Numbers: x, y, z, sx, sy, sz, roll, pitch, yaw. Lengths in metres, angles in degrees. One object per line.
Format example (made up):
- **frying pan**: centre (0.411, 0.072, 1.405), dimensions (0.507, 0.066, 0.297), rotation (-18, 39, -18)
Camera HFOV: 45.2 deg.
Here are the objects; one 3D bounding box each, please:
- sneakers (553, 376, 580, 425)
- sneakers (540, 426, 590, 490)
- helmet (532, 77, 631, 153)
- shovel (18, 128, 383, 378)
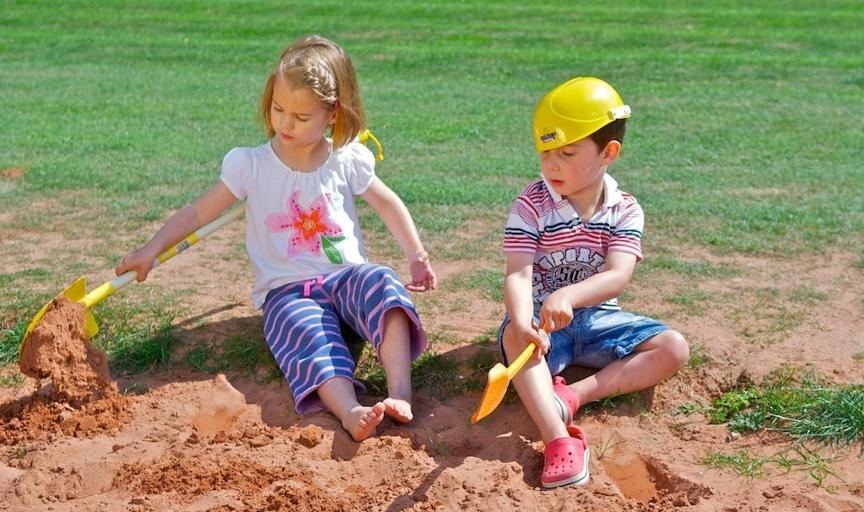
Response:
- **sneakers**: centre (0.846, 0.915, 6.566), dimensions (0.125, 0.141, 0.332), rotation (9, 26, -14)
- **sneakers**: centre (0.828, 1.232, 6.375), dimensions (0.258, 0.191, 0.525), rotation (-13, 17, 20)
- **helmet**: centre (0.951, -0.975, 6.707), dimensions (0.651, 0.352, 0.510), rotation (-22, 27, -14)
- **shovel**: centre (-1.614, 0.045, 7.298), dimensions (2.839, 0.275, 0.578), rotation (-30, 48, -21)
